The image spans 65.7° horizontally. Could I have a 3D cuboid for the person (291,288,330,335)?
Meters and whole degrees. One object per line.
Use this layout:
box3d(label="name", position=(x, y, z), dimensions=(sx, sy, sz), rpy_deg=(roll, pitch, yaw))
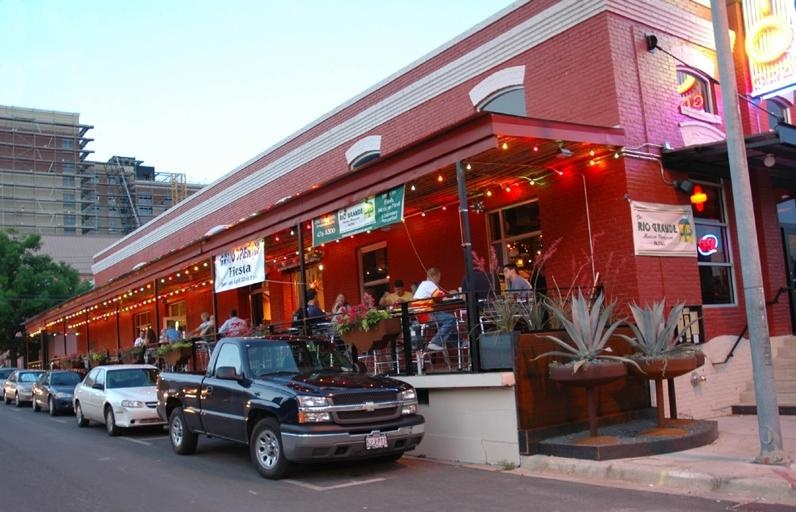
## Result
box3d(label="person", position=(-2.346, 1.515, 17.265), dimensions=(1.223, 1.207, 0.688), rpy_deg=(0, 16, 37))

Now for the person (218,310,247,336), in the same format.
box3d(label="person", position=(-5.135, 2.053, 19.052), dimensions=(0.698, 0.789, 2.074), rpy_deg=(-3, -3, -18))

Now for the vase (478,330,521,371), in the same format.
box3d(label="vase", position=(1.990, 1.894, 12.386), dimensions=(0.815, 0.702, 0.791), rpy_deg=(-4, -7, 31))

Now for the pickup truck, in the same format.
box3d(label="pickup truck", position=(-2.806, 3.034, 13.385), dimensions=(6.664, 2.655, 2.507), rpy_deg=(-6, -4, 39))

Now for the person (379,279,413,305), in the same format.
box3d(label="person", position=(-0.054, 1.007, 17.585), dimensions=(0.774, 1.059, 0.612), rpy_deg=(2, 14, 18))

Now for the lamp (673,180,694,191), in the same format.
box3d(label="lamp", position=(7.051, -1.744, 15.215), dimensions=(0.274, 0.138, 0.386), rpy_deg=(13, -7, -42))

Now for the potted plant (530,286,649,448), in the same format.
box3d(label="potted plant", position=(3.798, 2.022, 13.192), dimensions=(2.575, 2.893, 2.846), rpy_deg=(0, -8, -3))
